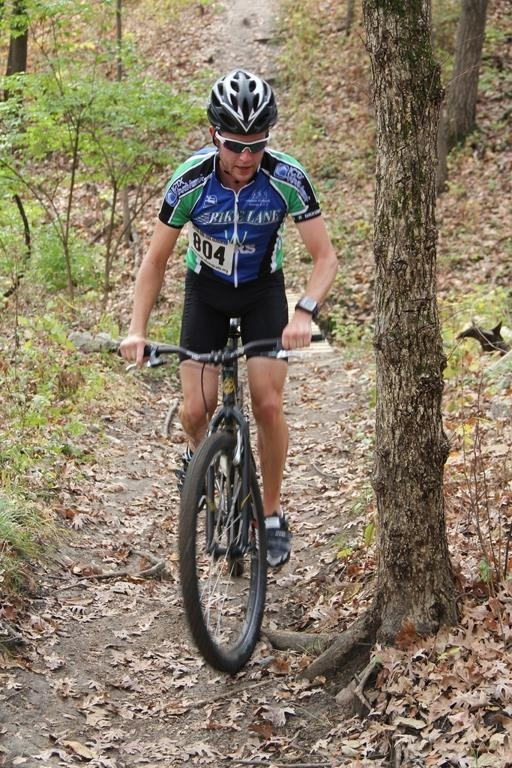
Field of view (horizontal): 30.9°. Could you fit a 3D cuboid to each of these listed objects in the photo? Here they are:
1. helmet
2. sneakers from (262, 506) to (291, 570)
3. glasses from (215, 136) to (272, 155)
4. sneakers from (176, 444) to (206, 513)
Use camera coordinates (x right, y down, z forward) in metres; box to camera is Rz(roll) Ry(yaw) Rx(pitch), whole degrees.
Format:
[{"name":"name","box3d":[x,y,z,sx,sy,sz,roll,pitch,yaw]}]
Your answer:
[{"name":"helmet","box3d":[-0.066,-1.328,4.434,0.288,0.172,0.371,0,48,-4]},{"name":"sneakers","box3d":[0.107,0.831,4.989,0.106,0.309,0.149,-13,-25,25]},{"name":"glasses","box3d":[-0.067,-1.152,4.403,0.249,0.088,0.161,1,17,-3]},{"name":"sneakers","box3d":[-0.357,0.539,5.034,0.140,0.157,0.389,-3,50,3]}]
